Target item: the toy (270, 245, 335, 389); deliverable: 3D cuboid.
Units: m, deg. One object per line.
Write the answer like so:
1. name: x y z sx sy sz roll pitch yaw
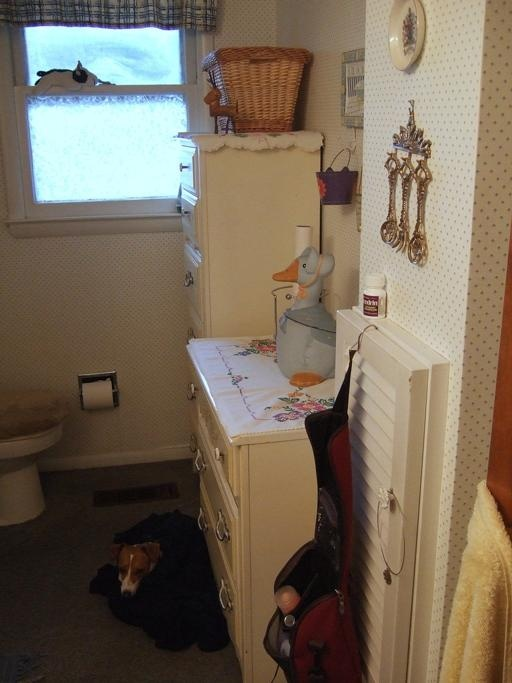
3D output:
1. toy: 0.130 -0.076 1.624 0.233 0.375 0.172 9 23 25

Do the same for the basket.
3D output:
1. basket: 0.004 -0.847 2.061 0.374 0.278 0.322 -1 23 -3

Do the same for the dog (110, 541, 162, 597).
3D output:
1. dog: -0.437 0.800 2.022 0.117 0.067 0.166 8 34 7

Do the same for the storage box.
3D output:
1. storage box: -0.011 -0.874 2.002 0.380 0.283 0.327 -2 22 -4

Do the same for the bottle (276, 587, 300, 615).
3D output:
1. bottle: 0.059 0.490 1.062 0.038 0.056 0.055 -21 -22 2

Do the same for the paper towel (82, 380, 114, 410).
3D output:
1. paper towel: -0.789 0.261 2.776 0.120 0.124 0.067 -3 20 -11

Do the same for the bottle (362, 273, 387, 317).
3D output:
1. bottle: 0.213 -0.086 1.012 0.034 0.076 0.061 -4 21 -9
